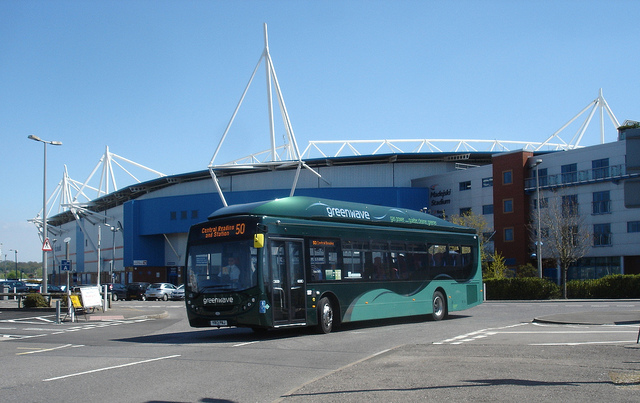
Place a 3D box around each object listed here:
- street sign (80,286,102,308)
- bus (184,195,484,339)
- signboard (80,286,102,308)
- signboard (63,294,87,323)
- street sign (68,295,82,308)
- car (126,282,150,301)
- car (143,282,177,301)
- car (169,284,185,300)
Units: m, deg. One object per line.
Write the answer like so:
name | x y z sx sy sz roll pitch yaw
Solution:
street sign | -11.985 5.011 33.749 0.379 0.994 0.987 -17 -11 31
bus | 1.398 2.662 27.478 14.509 5.404 3.321 1 -6 -40
signboard | -12.004 5.007 33.713 0.323 0.973 0.995 -15 -10 27
signboard | -12.583 5.228 33.205 0.834 1.137 0.733 -6 -9 27
street sign | -12.477 5.110 32.749 0.082 0.805 0.607 -31 -5 27
car | -17.831 8.815 62.991 2.085 1.072 1.383 4 -7 -20
car | -14.972 8.656 61.878 1.575 1.179 2.767 -1 -2 21
car | -13.160 8.403 59.408 0.987 1.307 3.264 -2 -5 -18
